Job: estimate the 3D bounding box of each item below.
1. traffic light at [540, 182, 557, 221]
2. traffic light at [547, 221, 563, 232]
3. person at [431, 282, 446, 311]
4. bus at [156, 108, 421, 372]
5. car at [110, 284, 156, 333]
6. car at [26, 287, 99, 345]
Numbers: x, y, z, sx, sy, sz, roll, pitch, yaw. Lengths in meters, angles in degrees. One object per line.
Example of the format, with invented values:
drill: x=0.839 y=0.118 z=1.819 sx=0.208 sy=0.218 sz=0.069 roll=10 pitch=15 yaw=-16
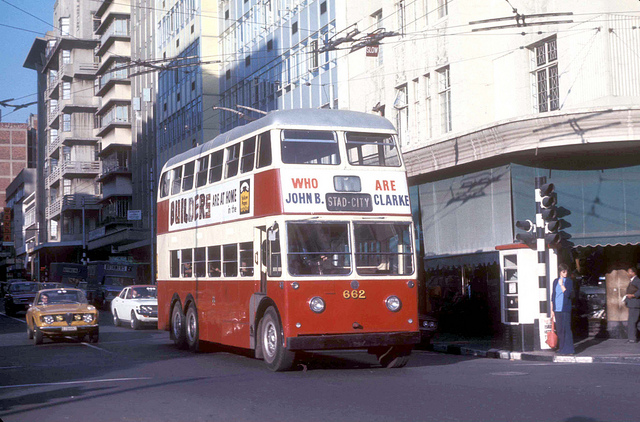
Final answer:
traffic light: x=6.549 y=-0.293 z=19.486 sx=0.422 sy=1.057 sz=0.634 roll=-3 pitch=-9 yaw=9
traffic light: x=6.765 y=0.445 z=19.640 sx=0.308 sy=0.406 sz=0.281 roll=-2 pitch=-3 yaw=40
person: x=5.069 y=3.589 z=29.260 sx=0.272 sy=1.091 sz=0.849 roll=1 pitch=-10 yaw=-18
bus: x=-0.924 y=1.033 z=18.403 sx=3.011 sy=4.499 sz=7.857 roll=0 pitch=-4 yaw=-24
car: x=-8.638 y=4.608 z=32.204 sx=1.811 sy=2.252 sz=5.170 roll=1 pitch=-11 yaw=-19
car: x=-9.432 y=3.812 z=25.056 sx=2.611 sy=2.097 sz=1.789 roll=-9 pitch=-12 yaw=36
